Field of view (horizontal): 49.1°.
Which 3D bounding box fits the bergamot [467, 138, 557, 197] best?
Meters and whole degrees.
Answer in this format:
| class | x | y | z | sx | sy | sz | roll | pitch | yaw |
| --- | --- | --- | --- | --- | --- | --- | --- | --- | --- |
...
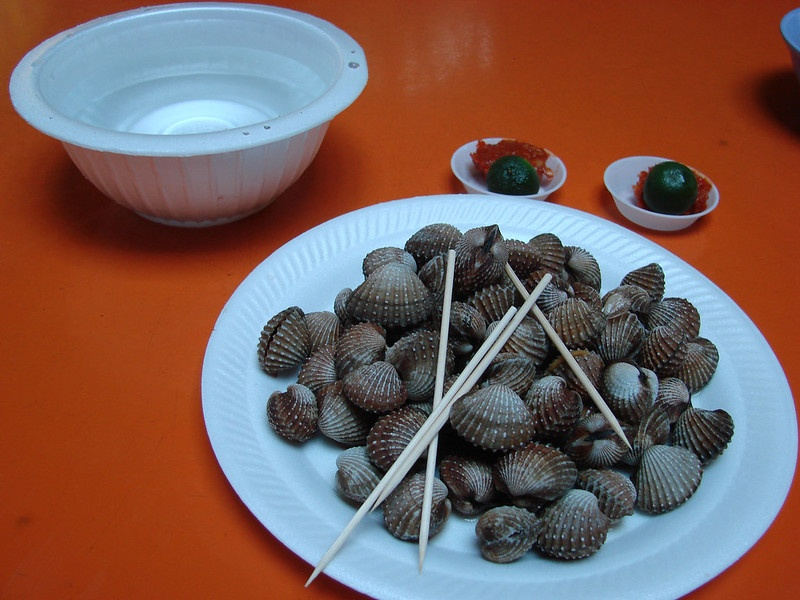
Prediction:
| class | x | y | z | sx | sy | sz | roll | pitch | yaw |
| --- | --- | --- | --- | --- | --- | --- | --- | --- | --- |
| bergamot | 0.211 | -0.254 | 1.631 | 0.169 | 0.103 | 0.120 | -2 | 33 | 4 |
